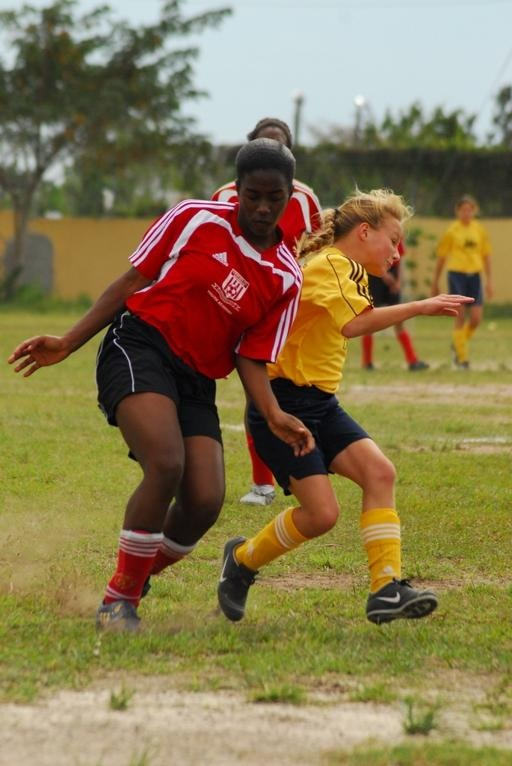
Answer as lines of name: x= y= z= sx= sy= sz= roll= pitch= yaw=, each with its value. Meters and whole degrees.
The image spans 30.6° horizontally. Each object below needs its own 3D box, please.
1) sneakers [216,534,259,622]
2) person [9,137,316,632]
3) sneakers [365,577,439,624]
sneakers: x=-0.071 y=0.596 z=2.838 sx=0.087 sy=0.237 sz=0.106 roll=16 pitch=-41 yaw=-31
person: x=-0.193 y=-0.005 z=2.582 sx=0.636 sy=1.309 sz=0.488 roll=8 pitch=10 yaw=36
sneakers: x=0.395 y=0.607 z=2.587 sx=0.259 sy=0.109 sz=0.084 roll=-14 pitch=-20 yaw=23
